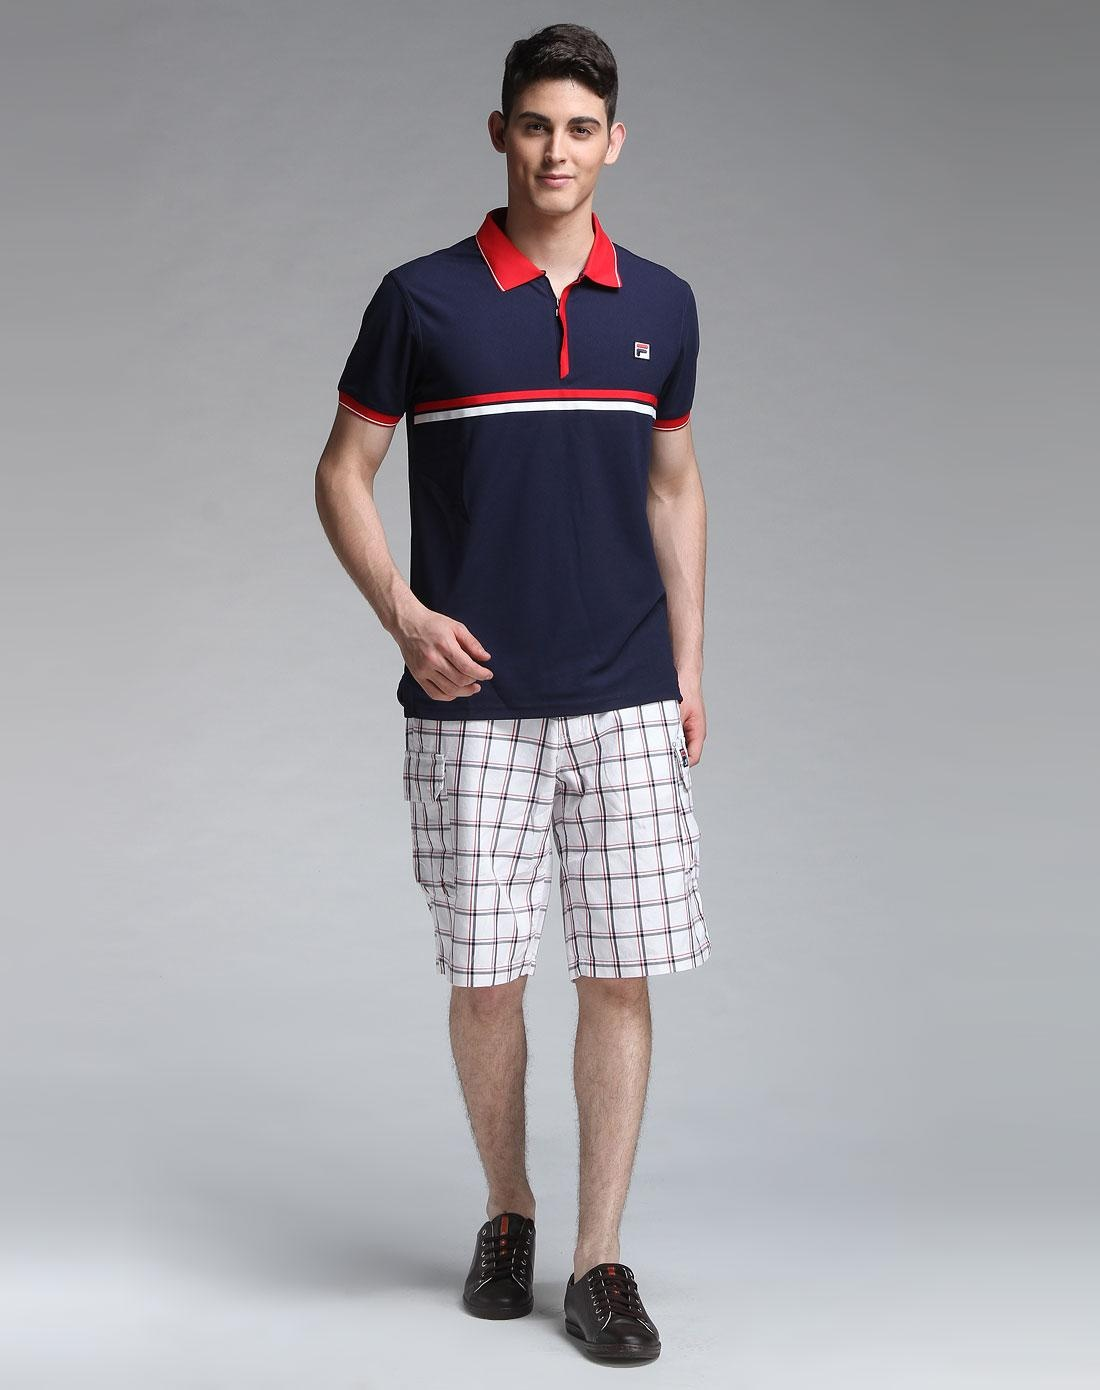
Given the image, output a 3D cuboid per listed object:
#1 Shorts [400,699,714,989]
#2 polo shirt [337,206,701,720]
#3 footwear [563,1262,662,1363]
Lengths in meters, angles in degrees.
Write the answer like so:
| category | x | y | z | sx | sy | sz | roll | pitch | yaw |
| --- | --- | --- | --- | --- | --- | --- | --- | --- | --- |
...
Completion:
| category | x | y | z | sx | sy | sz | roll | pitch | yaw |
| --- | --- | --- | --- | --- | --- | --- | --- | --- | --- |
| Shorts | 0.009 | 0.191 | 1.946 | 0.388 | 0.366 | 0.120 | 0 | 3 | -3 |
| polo shirt | -0.045 | -0.299 | 1.904 | 0.451 | 0.659 | 0.166 | 0 | 3 | -2 |
| footwear | 0.075 | 0.805 | 1.952 | 0.103 | 0.092 | 0.226 | 9 | -6 | -18 |
